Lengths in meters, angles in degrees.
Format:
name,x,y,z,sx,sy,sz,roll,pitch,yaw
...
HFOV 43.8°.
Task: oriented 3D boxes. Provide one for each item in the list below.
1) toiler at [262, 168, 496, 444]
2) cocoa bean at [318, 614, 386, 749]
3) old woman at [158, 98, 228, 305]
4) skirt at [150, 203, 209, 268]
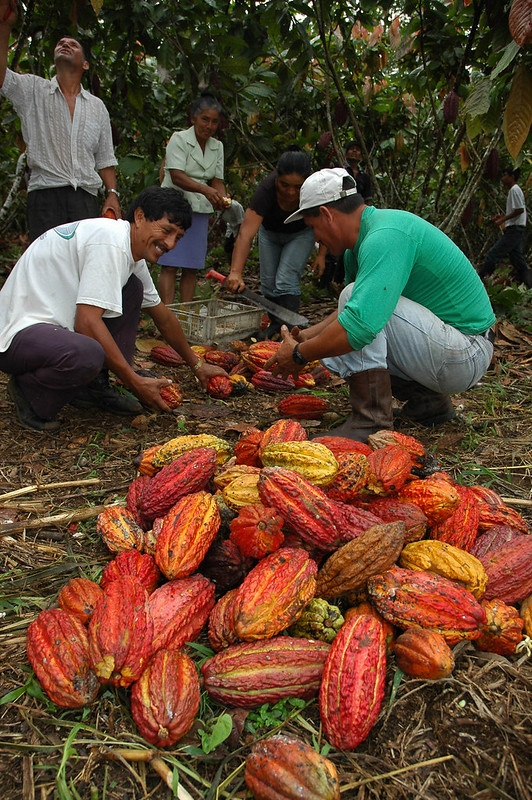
name,x,y,z,sx,sy,sz,roll,pitch,yaw
toiler,0.741,-0.524,3.970,1.703,1.631,1.264,1,14,8
cocoa bean,0.235,0.763,1.836,0.163,0.320,0.163,35,-30,-30
old woman,-0.575,-1.729,5.926,0.645,1.694,0.663,8,10,42
skirt,-0.777,-1.386,5.995,0.530,0.702,0.482,0,11,-11
